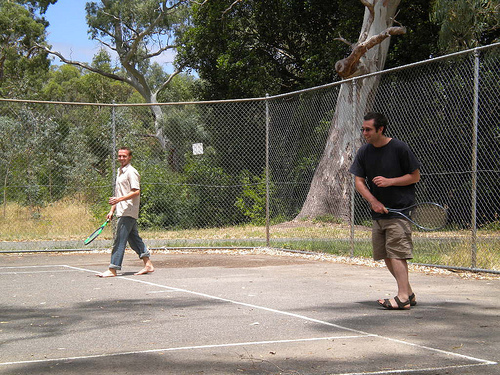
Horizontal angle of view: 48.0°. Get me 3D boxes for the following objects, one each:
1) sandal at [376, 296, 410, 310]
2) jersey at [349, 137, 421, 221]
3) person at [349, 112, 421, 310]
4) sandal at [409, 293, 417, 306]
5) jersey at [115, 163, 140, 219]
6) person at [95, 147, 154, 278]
[{"bbox_3d":[1.899,1.519,7.376,0.316,0.134,0.169,8,-5,7],"label":"sandal"},{"bbox_3d":[1.863,-0.160,7.685,1.008,1.007,0.492,-8,5,31],"label":"jersey"},{"bbox_3d":[1.847,0.287,7.535,0.847,2.616,0.528,-1,-2,16],"label":"person"},{"bbox_3d":[2.167,1.495,7.488,0.066,0.165,0.195,-2,-2,21],"label":"sandal"},{"bbox_3d":[-2.261,0.061,10.329,0.500,1.018,0.345,-1,-2,5],"label":"jersey"},{"bbox_3d":[-2.281,0.434,10.402,0.917,2.394,0.878,-1,-2,-12],"label":"person"}]
